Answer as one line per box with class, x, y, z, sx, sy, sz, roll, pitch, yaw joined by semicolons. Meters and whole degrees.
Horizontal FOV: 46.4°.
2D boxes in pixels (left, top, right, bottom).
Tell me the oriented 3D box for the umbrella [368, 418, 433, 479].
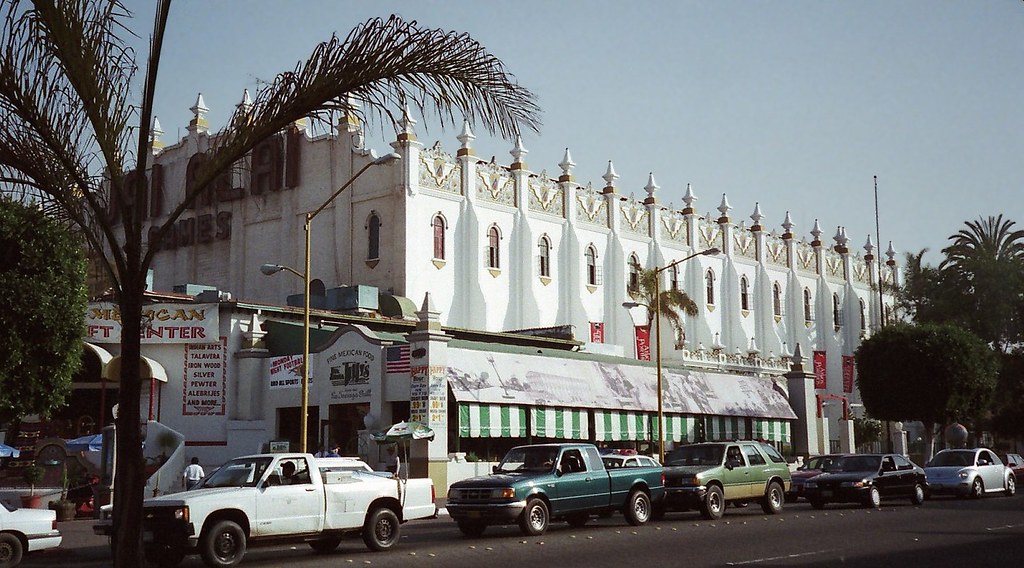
umbrella;-5.062;7.472;54.561;2.928;2.672;2.870;-2;-8;15
